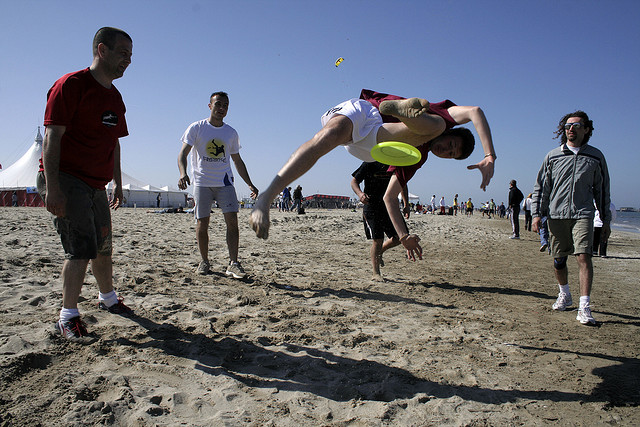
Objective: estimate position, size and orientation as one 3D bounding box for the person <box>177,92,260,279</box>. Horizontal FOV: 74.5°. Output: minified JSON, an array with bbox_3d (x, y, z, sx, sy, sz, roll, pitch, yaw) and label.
[{"bbox_3d":[-1.579,-0.429,6.425,1.097,2.773,0.766,2,4,-15],"label":"person"}]

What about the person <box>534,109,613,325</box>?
[{"bbox_3d":[3.292,0.015,5.573,0.874,2.708,0.624,6,5,35],"label":"person"}]

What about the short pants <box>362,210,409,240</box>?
[{"bbox_3d":[1.087,0.303,6.801,0.687,0.695,0.407,-5,-6,-18],"label":"short pants"}]

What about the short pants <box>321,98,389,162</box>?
[{"bbox_3d":[0.337,-0.849,4.170,0.596,0.608,0.338,2,4,-16],"label":"short pants"}]

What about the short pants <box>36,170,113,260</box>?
[{"bbox_3d":[-2.458,0.037,4.362,0.626,0.927,0.394,0,5,-40],"label":"short pants"}]

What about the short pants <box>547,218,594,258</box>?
[{"bbox_3d":[3.373,0.316,5.572,0.350,0.616,0.620,7,-6,-16],"label":"short pants"}]

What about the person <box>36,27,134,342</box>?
[{"bbox_3d":[-2.389,-0.339,4.391,0.469,3.189,0.777,5,4,25],"label":"person"}]

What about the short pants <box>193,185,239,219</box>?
[{"bbox_3d":[-1.598,-0.171,6.463,0.584,0.577,0.326,2,-16,-18],"label":"short pants"}]
